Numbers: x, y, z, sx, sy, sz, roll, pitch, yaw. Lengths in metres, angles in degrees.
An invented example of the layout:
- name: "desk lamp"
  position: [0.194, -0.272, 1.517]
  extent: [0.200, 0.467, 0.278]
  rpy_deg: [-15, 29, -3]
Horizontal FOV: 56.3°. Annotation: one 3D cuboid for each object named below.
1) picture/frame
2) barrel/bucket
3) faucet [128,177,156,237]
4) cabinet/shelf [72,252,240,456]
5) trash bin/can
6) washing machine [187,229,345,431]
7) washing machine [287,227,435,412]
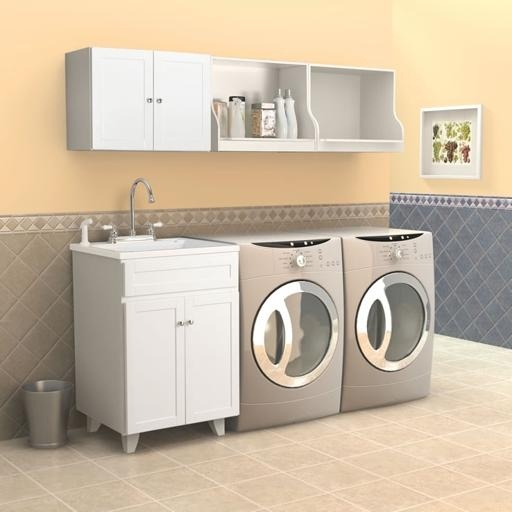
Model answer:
- name: "picture/frame"
  position: [1.841, -1.087, 4.504]
  extent: [0.059, 0.841, 0.747]
  rpy_deg: [-3, 5, -36]
- name: "barrel/bucket"
  position: [-0.966, 0.730, 2.330]
  extent: [0.257, 0.305, 0.273]
  rpy_deg: [1, 0, 0]
- name: "faucet"
  position: [-0.609, -0.281, 2.552]
  extent: [0.140, 0.347, 0.392]
  rpy_deg: [0, -3, -13]
- name: "cabinet/shelf"
  position: [-0.438, 0.322, 2.664]
  extent: [0.843, 1.330, 0.848]
  rpy_deg: [-3, 5, -38]
- name: "trash bin/can"
  position: [-0.965, 0.734, 2.332]
  extent: [0.256, 0.305, 0.273]
  rpy_deg: [0, 0, -17]
- name: "washing machine"
  position: [0.148, 0.344, 3.024]
  extent: [0.900, 1.352, 0.900]
  rpy_deg: [-3, 4, -35]
- name: "washing machine"
  position: [0.704, 0.328, 3.297]
  extent: [0.916, 1.388, 0.896]
  rpy_deg: [-3, 4, -33]
